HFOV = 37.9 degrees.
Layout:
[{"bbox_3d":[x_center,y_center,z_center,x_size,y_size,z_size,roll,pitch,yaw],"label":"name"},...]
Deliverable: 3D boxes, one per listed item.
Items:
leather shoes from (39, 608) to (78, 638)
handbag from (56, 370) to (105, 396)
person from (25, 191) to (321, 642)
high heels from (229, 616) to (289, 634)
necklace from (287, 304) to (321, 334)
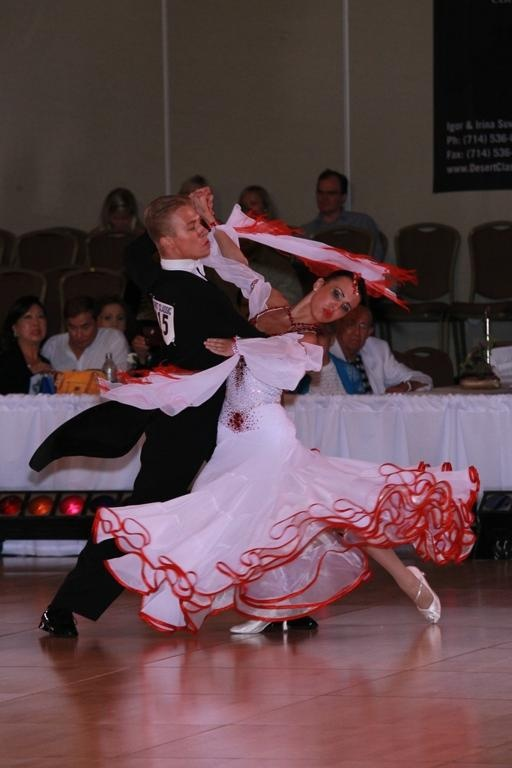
[{"bbox_3d":[-0.572,0.707,2.255,0.124,0.096,0.080,3,10,6],"label":"leather shoes"},{"bbox_3d":[-0.924,-0.007,3.906,0.267,0.110,0.334,-1,-4,1],"label":"handbag"},{"bbox_3d":[-0.278,0.084,2.192,0.768,1.339,0.297,0,1,0],"label":"person"},{"bbox_3d":[0.003,0.745,2.275,0.199,0.064,0.061,4,1,-5],"label":"high heels"},{"bbox_3d":[0.141,-0.188,2.166,0.082,0.058,0.060,0,-5,-13],"label":"necklace"}]
